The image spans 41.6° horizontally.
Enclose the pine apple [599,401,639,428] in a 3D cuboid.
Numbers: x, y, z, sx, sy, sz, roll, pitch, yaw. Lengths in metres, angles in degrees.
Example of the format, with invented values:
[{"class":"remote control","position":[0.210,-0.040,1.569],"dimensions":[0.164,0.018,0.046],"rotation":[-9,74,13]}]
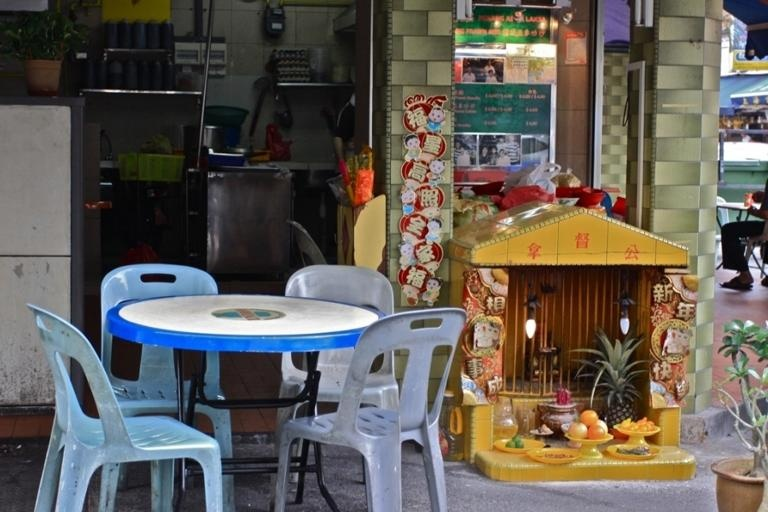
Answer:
[{"class":"pine apple","position":[1.663,1.115,7.233],"dimensions":[0.216,0.273,0.194],"rotation":[3,-2,-8]}]

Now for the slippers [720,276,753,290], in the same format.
[{"class":"slippers","position":[4.378,0.343,12.524],"dimensions":[0.414,0.161,0.151],"rotation":[2,-1,10]}]

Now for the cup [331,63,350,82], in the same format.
[{"class":"cup","position":[-0.577,-2.345,13.052],"dimensions":[0.162,0.230,0.256],"rotation":[-3,7,-31]}]

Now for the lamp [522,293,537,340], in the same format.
[{"class":"lamp","position":[1.050,0.444,7.234],"dimensions":[0.098,0.337,0.266],"rotation":[2,6,9]}]

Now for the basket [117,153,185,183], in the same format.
[{"class":"basket","position":[-2.799,-1.062,12.179],"dimensions":[0.579,0.272,0.401],"rotation":[0,4,1]}]

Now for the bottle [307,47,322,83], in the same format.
[{"class":"bottle","position":[-0.875,-2.446,12.995],"dimensions":[0.221,0.421,0.080],"rotation":[1,6,3]}]

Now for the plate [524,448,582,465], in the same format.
[{"class":"plate","position":[1.162,1.369,6.893],"dimensions":[0.359,0.068,0.205],"rotation":[-1,6,-21]}]

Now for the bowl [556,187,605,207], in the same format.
[{"class":"bowl","position":[1.508,-0.451,7.720],"dimensions":[0.272,0.109,0.214],"rotation":[1,10,-3]}]

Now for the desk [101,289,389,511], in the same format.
[{"class":"desk","position":[-0.765,0.886,6.011],"dimensions":[1.397,0.962,1.382],"rotation":[2,3,-1]}]

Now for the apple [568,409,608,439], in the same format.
[{"class":"apple","position":[1.407,1.173,6.956],"dimensions":[0.227,0.171,0.206],"rotation":[4,-13,-31]}]

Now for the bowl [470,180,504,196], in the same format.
[{"class":"bowl","position":[0.814,-0.531,7.992],"dimensions":[0.247,0.109,0.346],"rotation":[1,5,5]}]

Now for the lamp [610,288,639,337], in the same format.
[{"class":"lamp","position":[1.724,0.405,7.218],"dimensions":[0.115,0.324,0.173],"rotation":[2,6,13]}]

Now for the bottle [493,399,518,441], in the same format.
[{"class":"bottle","position":[0.878,1.176,7.220],"dimensions":[0.187,0.261,0.188],"rotation":[3,4,0]}]

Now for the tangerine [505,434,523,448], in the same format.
[{"class":"tangerine","position":[0.906,1.289,7.020],"dimensions":[0.119,0.064,0.157],"rotation":[1,6,7]}]
